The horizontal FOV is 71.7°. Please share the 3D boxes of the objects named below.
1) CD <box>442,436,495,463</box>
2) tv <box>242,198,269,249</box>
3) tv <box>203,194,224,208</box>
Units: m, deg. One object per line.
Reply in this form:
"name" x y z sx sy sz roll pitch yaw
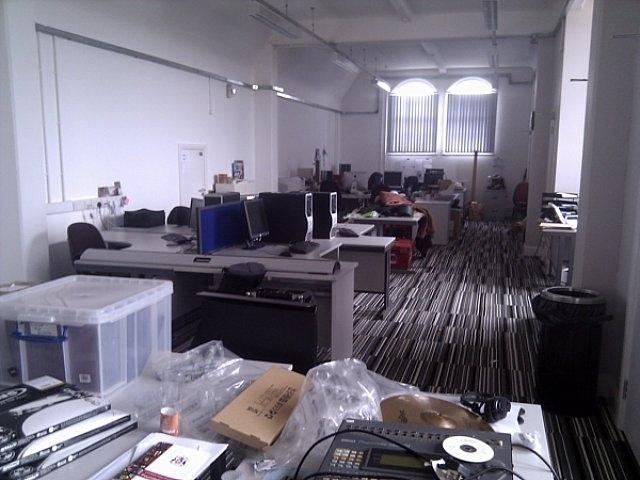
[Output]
"CD" 0.369 0.522 1.102 0.121 0.016 0.091 5 12 21
"tv" -0.598 -0.149 4.012 0.122 0.415 0.382 -4 10 15
"tv" -1.086 -0.398 4.450 0.202 0.213 0.116 0 12 -11
